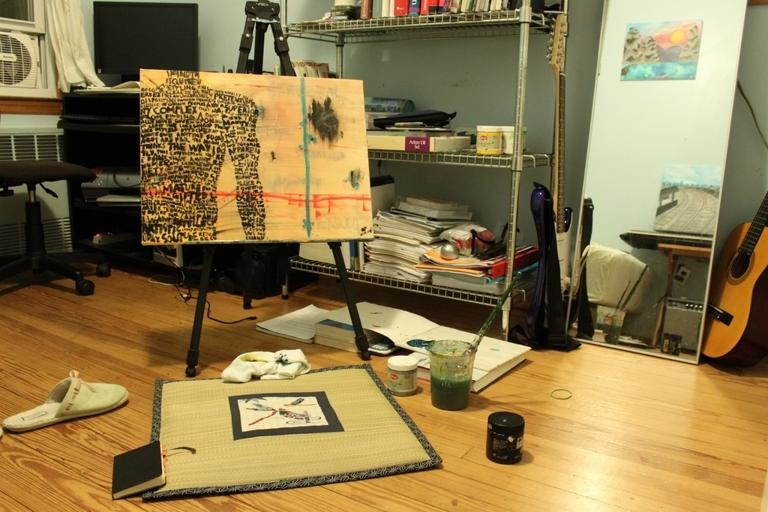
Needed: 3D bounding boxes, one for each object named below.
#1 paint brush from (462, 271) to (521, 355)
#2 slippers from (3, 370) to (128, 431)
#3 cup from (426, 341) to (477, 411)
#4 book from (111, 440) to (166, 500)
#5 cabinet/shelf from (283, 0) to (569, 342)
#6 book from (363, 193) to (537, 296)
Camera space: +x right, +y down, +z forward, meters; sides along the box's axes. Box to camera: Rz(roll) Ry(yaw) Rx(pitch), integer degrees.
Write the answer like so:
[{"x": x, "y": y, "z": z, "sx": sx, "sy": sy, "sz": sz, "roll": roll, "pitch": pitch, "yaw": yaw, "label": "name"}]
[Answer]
[{"x": 0.488, "y": 0.255, "z": 2.580, "sx": 0.035, "sy": 0.425, "sz": 0.059, "roll": 42, "pitch": -6, "yaw": 2, "label": "paint brush"}, {"x": -1.109, "y": 0.524, "z": 2.050, "sx": 0.392, "sy": 0.135, "sz": 0.169, "roll": -13, "pitch": 28, "yaw": -31, "label": "slippers"}, {"x": 0.240, "y": 0.429, "z": 2.173, "sx": 0.252, "sy": 0.249, "sz": 0.235, "roll": 0, "pitch": 13, "yaw": 0, "label": "cup"}, {"x": -0.764, "y": 0.658, "z": 1.773, "sx": 0.156, "sy": 0.078, "sz": 0.173, "roll": -5, "pitch": 20, "yaw": -20, "label": "book"}, {"x": 0.242, "y": -0.385, "z": 2.750, "sx": 1.586, "sy": 1.688, "sz": 0.611, "roll": 14, "pitch": 26, "yaw": 38, "label": "cabinet/shelf"}, {"x": 0.253, "y": -0.038, "z": 2.746, "sx": 0.605, "sy": 0.245, "sz": 0.597, "roll": 10, "pitch": 20, "yaw": 33, "label": "book"}]
